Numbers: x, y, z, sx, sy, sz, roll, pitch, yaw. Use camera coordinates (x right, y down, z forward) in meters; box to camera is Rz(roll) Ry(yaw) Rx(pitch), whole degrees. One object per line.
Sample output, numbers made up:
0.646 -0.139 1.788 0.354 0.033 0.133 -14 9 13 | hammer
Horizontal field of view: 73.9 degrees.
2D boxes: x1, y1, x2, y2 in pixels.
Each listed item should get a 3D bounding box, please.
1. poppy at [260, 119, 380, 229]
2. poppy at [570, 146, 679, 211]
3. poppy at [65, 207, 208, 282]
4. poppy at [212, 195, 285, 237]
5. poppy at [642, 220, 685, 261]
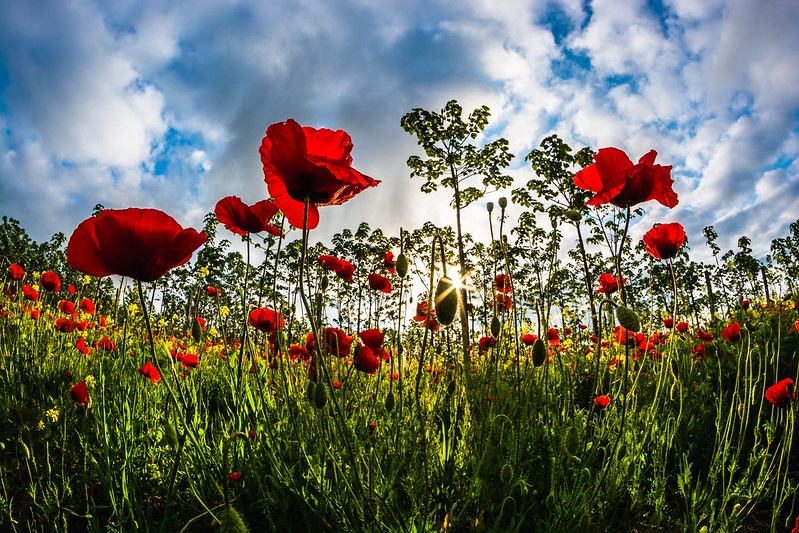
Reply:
-0.533 -0.470 3.078 0.517 0.661 0.583 14 -22 -43 | poppy
1.597 -0.568 3.585 0.491 0.311 0.541 19 -5 -2 | poppy
-1.455 -0.086 3.094 0.780 0.365 0.798 7 -5 -43 | poppy
-1.006 -0.362 3.673 0.419 0.210 0.479 7 7 44 | poppy
1.819 -0.167 3.657 0.286 0.211 0.275 5 -17 -18 | poppy
